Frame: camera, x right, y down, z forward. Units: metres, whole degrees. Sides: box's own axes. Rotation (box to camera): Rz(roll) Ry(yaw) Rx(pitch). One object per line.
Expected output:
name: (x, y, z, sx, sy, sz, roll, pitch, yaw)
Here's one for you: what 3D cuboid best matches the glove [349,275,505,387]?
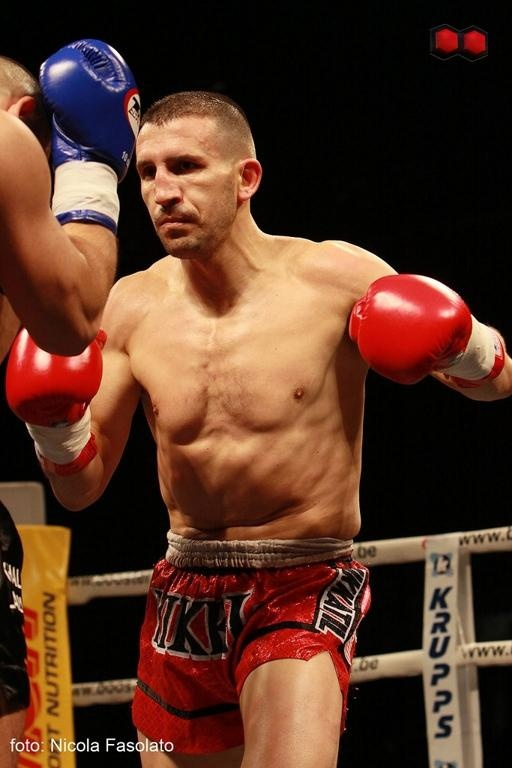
glove: (0.374, -0.096, 1.648, 0.360, 0.232, 0.179, -7, 28, -10)
